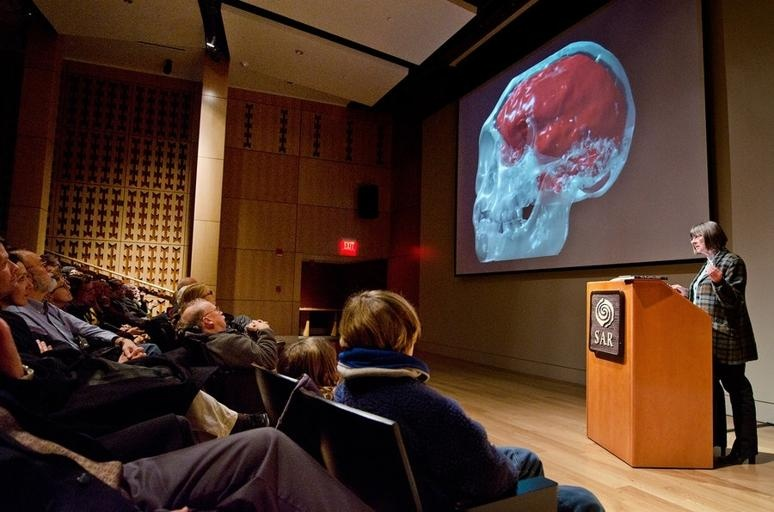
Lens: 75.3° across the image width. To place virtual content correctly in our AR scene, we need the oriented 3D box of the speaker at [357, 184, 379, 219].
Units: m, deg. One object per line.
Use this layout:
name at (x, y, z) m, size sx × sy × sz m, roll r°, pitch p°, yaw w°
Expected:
speaker at (-0.417, -1.188, 10.579) m, size 0.467 × 0.782 × 0.250 m, roll 3°, pitch -4°, yaw -9°

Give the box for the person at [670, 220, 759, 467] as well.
person at (2.983, 0.736, 4.403) m, size 0.551 × 2.095 × 0.424 m, roll 2°, pitch -4°, yaw 3°

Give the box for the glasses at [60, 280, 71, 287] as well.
glasses at (-3.121, 0.269, 4.891) m, size 0.097 × 0.063 × 0.141 m, roll 0°, pitch -1°, yaw -14°
